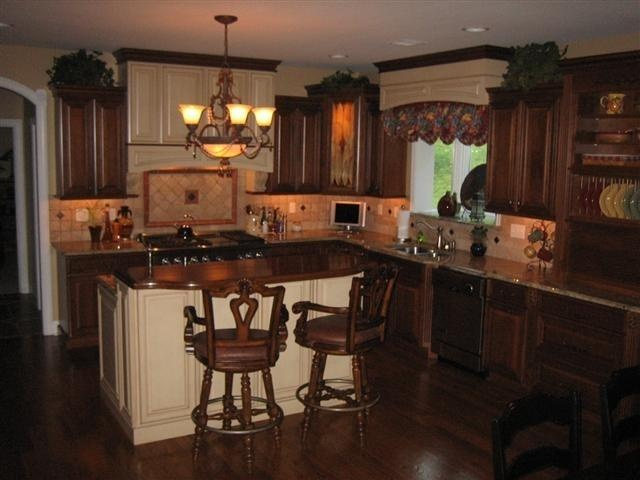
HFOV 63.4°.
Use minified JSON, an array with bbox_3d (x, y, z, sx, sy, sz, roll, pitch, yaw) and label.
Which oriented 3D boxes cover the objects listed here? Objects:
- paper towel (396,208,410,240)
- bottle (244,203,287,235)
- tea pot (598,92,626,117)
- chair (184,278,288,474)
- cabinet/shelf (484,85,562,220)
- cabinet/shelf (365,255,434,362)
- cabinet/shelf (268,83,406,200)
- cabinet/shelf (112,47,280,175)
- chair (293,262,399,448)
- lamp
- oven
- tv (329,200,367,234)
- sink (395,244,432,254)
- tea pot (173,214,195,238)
[{"bbox_3d":[1.116,-0.199,6.820,0.192,0.378,0.146,-3,12,-17],"label":"paper towel"},{"bbox_3d":[-0.801,-0.296,7.415,0.474,0.430,0.150,0,13,-13],"label":"bottle"},{"bbox_3d":[2.521,-1.178,4.474,0.219,0.165,0.169,1,7,16],"label":"tea pot"},{"bbox_3d":[-0.622,0.894,3.895,0.807,1.306,0.818,3,4,29],"label":"chair"},{"bbox_3d":[2.223,-0.908,5.404,0.483,1.265,0.877,-13,17,-33],"label":"cabinet/shelf"},{"bbox_3d":[0.859,0.704,5.333,0.519,1.004,1.061,-3,10,-28],"label":"cabinet/shelf"},{"bbox_3d":[0.279,-1.364,7.290,2.019,1.553,0.782,8,15,32],"label":"cabinet/shelf"},{"bbox_3d":[-1.523,-1.717,6.680,2.149,1.254,0.418,-9,22,-37],"label":"cabinet/shelf"},{"bbox_3d":[0.195,0.882,4.220,0.830,1.461,0.808,0,11,-3],"label":"chair"},{"bbox_3d":[-0.822,-1.269,4.474,0.876,1.252,0.913,-1,12,-15],"label":"lamp"},{"bbox_3d":[1.659,0.851,5.718,0.774,1.007,0.639,-1,7,-41],"label":"oven"},{"bbox_3d":[0.420,-0.343,7.574,0.508,0.450,0.223,3,5,17],"label":"tv"},{"bbox_3d":[1.173,0.112,6.492,0.480,0.096,0.238,5,11,20],"label":"sink"},{"bbox_3d":[-1.762,-0.179,6.804,0.267,0.372,0.382,2,2,-8],"label":"tea pot"}]
